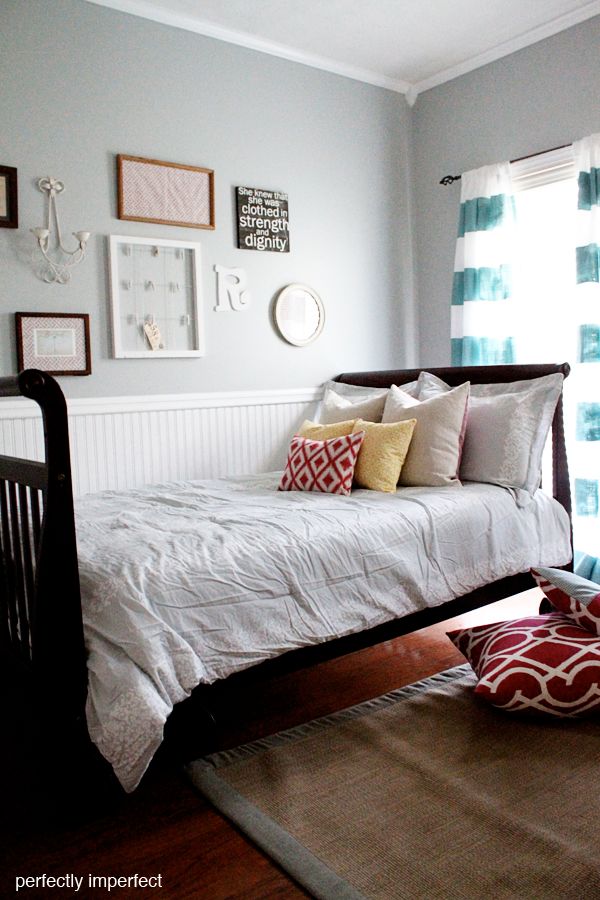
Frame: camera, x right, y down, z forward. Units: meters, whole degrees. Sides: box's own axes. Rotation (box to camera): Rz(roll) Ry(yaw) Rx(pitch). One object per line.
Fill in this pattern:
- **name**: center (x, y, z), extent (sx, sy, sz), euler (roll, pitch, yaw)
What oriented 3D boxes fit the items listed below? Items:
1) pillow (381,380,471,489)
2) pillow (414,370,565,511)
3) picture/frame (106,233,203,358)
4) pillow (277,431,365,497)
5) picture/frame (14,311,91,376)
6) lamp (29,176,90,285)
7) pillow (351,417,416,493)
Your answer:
- **pillow**: center (0.465, -0.042, 2.589), extent (0.156, 0.392, 0.396), euler (16, -13, -40)
- **pillow**: center (0.756, -0.049, 2.470), extent (0.446, 0.459, 0.132), euler (5, -16, 35)
- **picture/frame**: center (-0.643, -0.675, 2.885), extent (0.029, 0.671, 0.563), euler (-1, 2, 45)
- **pillow**: center (0.067, 0.051, 2.495), extent (0.345, 0.227, 0.122), euler (2, 0, 39)
- **picture/frame**: center (-0.957, -0.421, 2.619), extent (0.268, 0.278, 0.012), euler (-2, -20, -20)
- **lamp**: center (-0.931, -0.858, 2.588), extent (0.194, 0.401, 0.094), euler (-8, 9, -44)
- **pillow**: center (0.314, 0.024, 2.515), extent (0.160, 0.254, 0.287), euler (-11, 0, -20)
